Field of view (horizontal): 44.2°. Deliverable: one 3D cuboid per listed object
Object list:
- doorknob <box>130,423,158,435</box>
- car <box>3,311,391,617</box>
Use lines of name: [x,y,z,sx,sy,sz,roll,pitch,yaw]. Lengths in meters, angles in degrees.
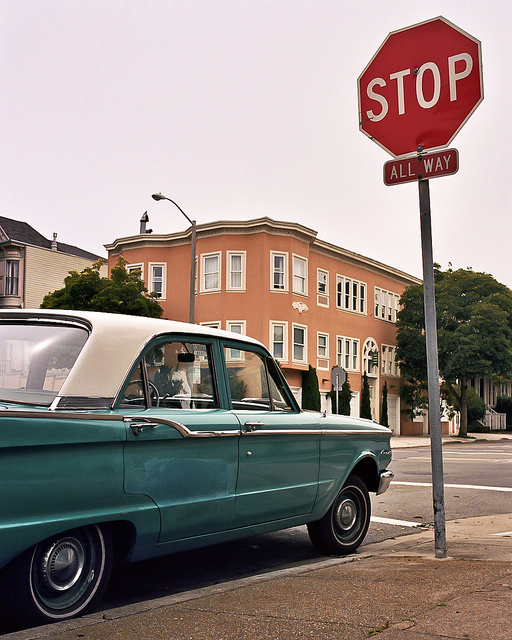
doorknob: [-0.627,0.601,3.484,0.038,0.055,0.150,5,1,27]
car: [-0.581,0.765,4.198,1.229,1.020,2.783,-3,-5,35]
